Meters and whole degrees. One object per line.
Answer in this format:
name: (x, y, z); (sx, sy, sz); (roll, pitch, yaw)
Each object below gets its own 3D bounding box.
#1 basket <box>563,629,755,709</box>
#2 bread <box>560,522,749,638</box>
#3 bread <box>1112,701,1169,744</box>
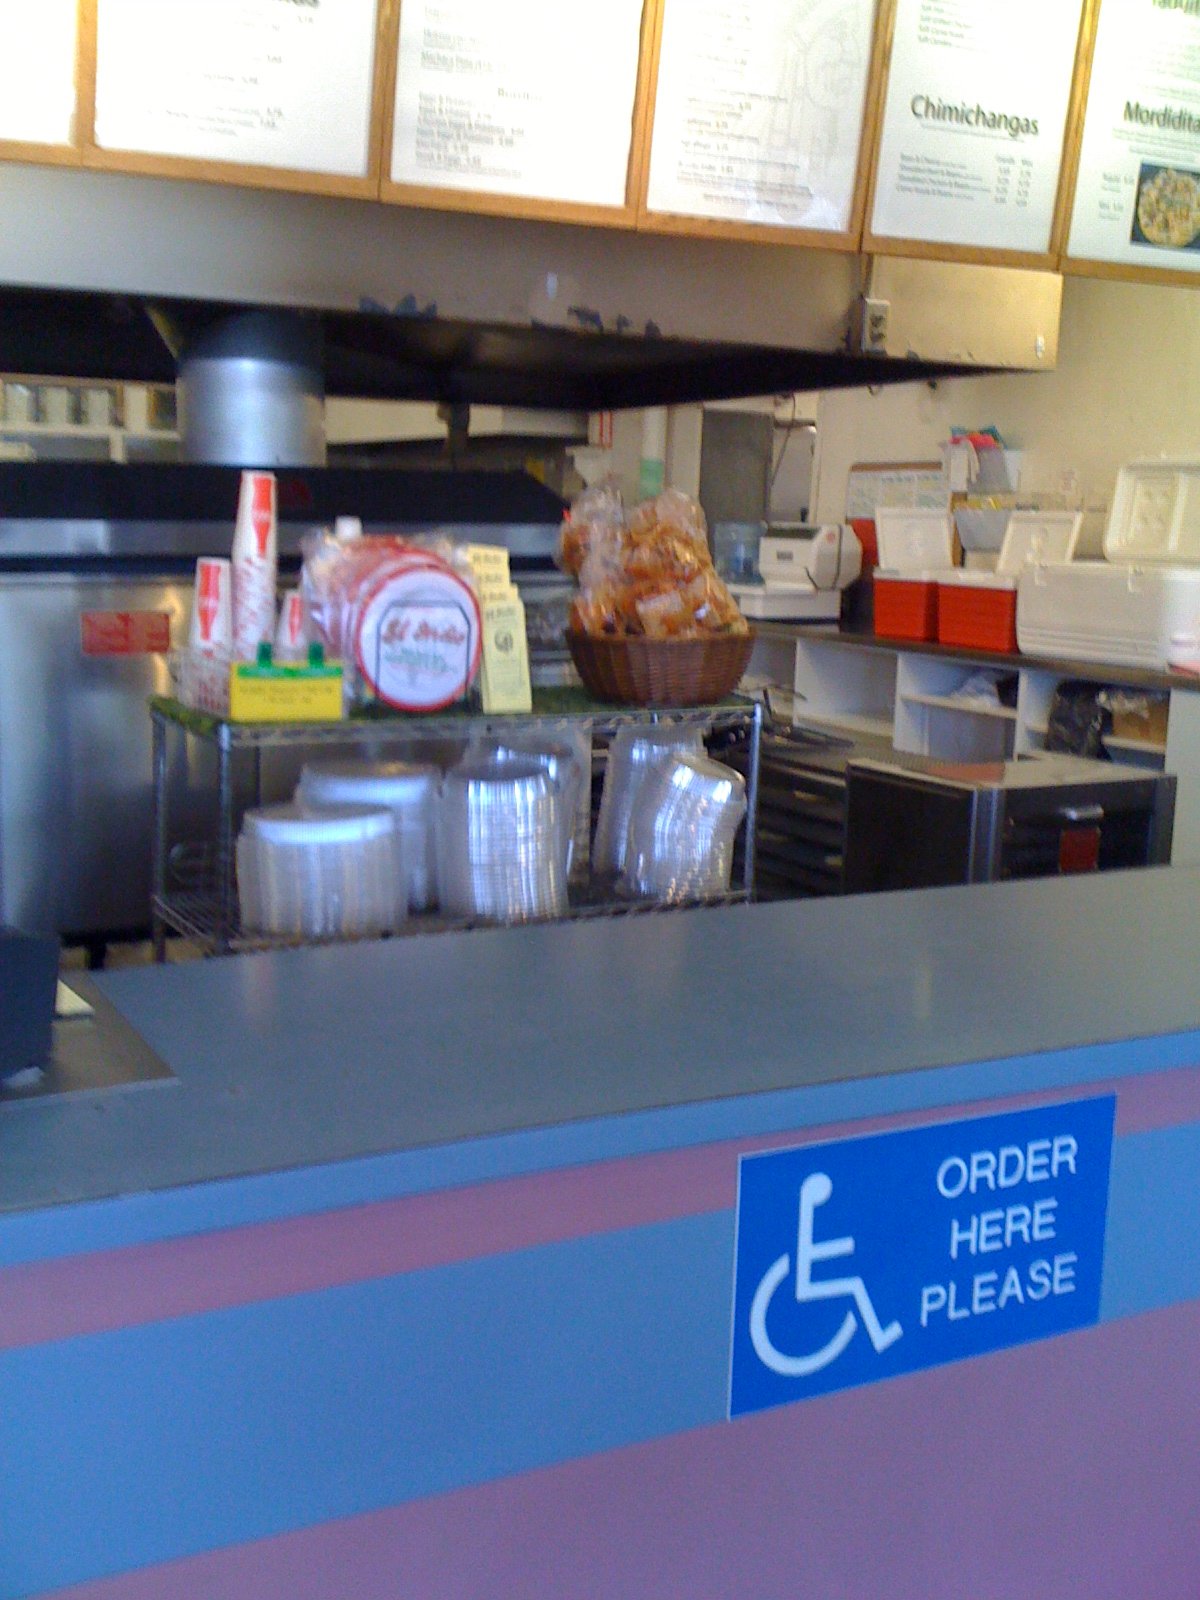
basket: (0.075, -0.157, 1.472); (0.121, 0.058, 0.135); (-4, 12, -18)
bread: (0.067, -0.265, 1.475); (0.205, 0.143, 0.087); (1, 6, -2)
bread: (1.582, -0.231, 3.592); (0.087, 0.137, 0.170); (-7, 12, -26)
